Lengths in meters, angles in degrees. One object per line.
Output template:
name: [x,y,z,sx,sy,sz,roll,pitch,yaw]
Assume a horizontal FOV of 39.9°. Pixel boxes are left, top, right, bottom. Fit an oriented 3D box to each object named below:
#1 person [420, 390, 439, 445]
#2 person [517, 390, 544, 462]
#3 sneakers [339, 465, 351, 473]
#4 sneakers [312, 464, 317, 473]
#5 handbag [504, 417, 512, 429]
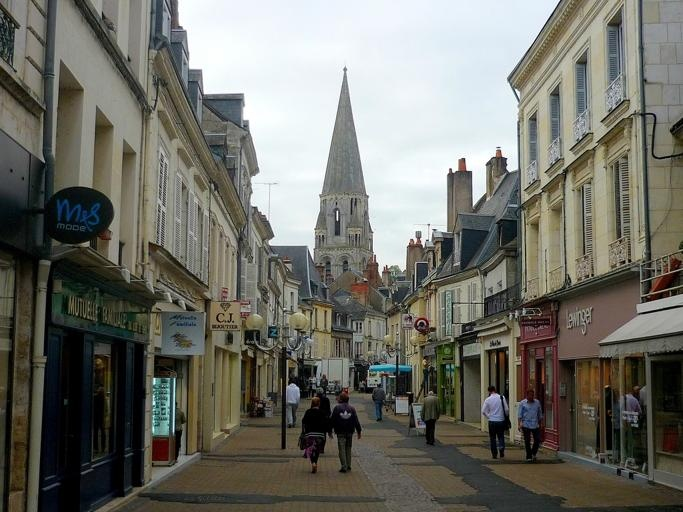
person: [2.612,4.746,27.756,0.461,1.692,1.441,-2,-15,5]
person: [4.674,4.161,23.160,0.536,1.771,0.880,-4,-15,13]
sneakers: [0.078,4.776,21.062,0.256,0.136,0.382,-1,-17,-1]
sneakers: [-0.592,4.708,20.796,0.076,0.108,0.249,-1,-33,-4]
handbag: [4.210,4.225,23.785,0.078,0.314,0.199,2,4,17]
